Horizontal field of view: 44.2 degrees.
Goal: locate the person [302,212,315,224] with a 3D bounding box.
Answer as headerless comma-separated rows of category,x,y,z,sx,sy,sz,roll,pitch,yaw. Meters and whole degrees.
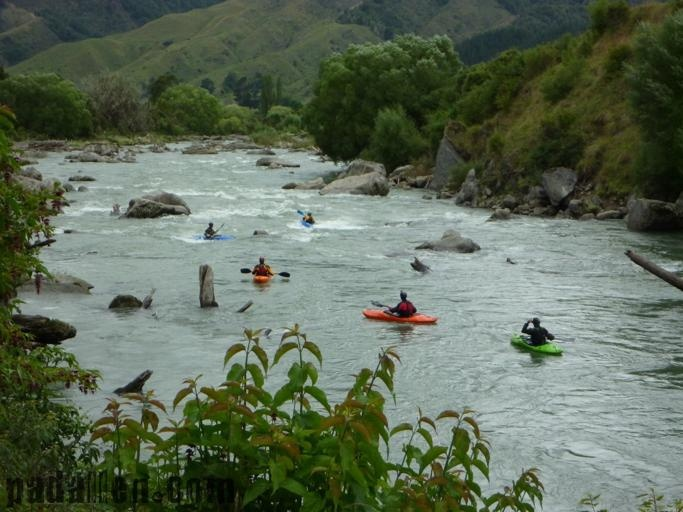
person,-1.831,-2.077,45.746,0.357,0.855,0.485,31,-45,-31

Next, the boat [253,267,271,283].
boat,-3.049,0.757,32.441,0.692,0.465,0.903,2,7,-6

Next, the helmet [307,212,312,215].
helmet,-1.731,-2.251,45.393,0.221,0.239,0.212,2,15,-4

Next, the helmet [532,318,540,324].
helmet,6.084,2.037,26.402,0.168,0.221,0.200,-11,22,-37

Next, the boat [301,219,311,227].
boat,-1.842,-1.729,44.624,0.592,0.337,0.787,3,7,3

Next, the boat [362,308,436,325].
boat,1.909,2.081,28.340,2.650,0.508,0.836,1,1,15

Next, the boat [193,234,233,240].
boat,-6.099,-0.895,40.362,1.806,0.201,1.108,2,7,-7

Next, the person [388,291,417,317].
person,2.019,1.607,28.589,0.980,1.002,0.655,10,12,37

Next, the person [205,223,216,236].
person,-6.335,-1.308,40.494,0.549,0.638,1.045,1,7,-10

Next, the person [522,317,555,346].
person,6.185,2.414,26.535,0.561,0.857,0.430,-7,28,9

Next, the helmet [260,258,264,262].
helmet,-3.122,0.138,32.937,0.185,0.208,0.240,-3,2,-5

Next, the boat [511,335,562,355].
boat,6.002,2.783,26.088,1.180,0.445,0.615,8,8,36
